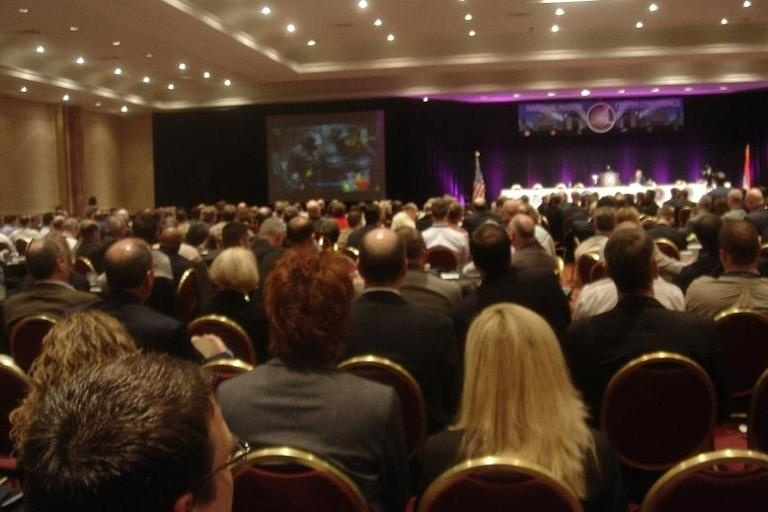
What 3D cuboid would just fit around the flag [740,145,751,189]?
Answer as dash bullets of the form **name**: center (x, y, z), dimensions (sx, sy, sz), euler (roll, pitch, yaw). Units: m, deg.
- **flag**: center (10.963, -2.732, 18.056), dimensions (0.242, 1.293, 0.311), euler (2, 7, 31)
